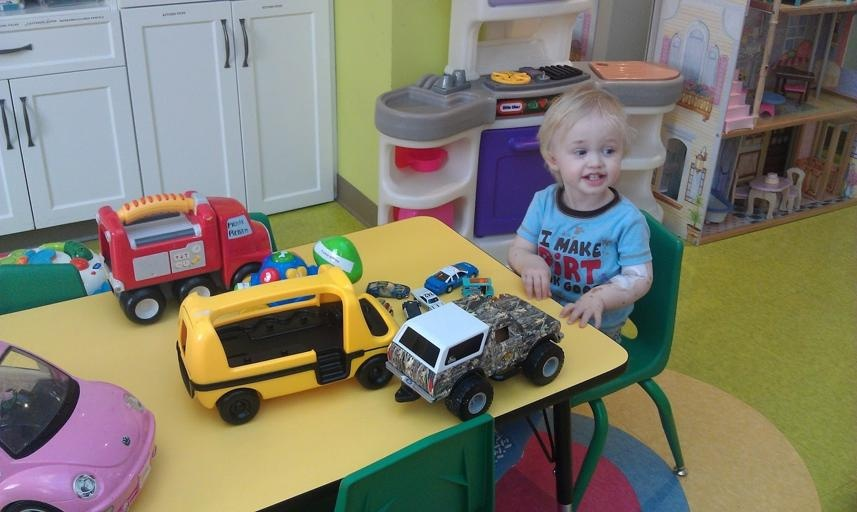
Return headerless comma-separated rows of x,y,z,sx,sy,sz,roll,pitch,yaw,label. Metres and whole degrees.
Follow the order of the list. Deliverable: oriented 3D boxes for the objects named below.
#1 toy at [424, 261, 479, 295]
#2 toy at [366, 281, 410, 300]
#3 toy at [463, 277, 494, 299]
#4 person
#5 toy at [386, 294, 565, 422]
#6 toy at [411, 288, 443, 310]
0.070,0.070,2.012,0.154,0.049,0.088,-30,46,-21,toy
-0.125,0.110,1.957,0.124,0.037,0.059,1,27,-2,toy
0.165,0.100,2.005,0.069,0.031,0.068,-4,23,-7,toy
0.476,0.052,2.145,0.542,1.150,0.700,9,23,23,person
0.162,0.270,1.753,0.478,0.229,0.271,-26,38,-26,toy
-0.005,0.134,1.940,0.048,0.028,0.094,-29,53,-24,toy
